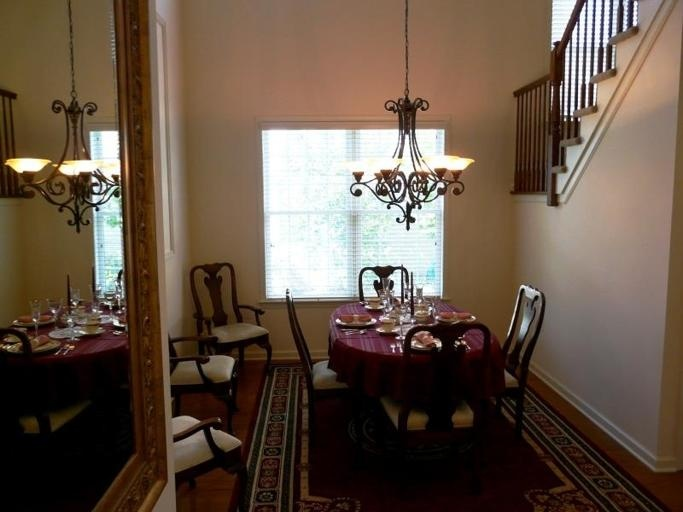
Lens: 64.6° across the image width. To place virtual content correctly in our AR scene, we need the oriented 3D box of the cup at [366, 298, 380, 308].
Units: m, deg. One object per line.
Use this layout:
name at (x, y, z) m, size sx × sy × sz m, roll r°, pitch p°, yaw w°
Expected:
cup at (0.274, 0.421, 4.789) m, size 0.079 × 0.064 × 0.085 m, roll 1°, pitch -8°, yaw 0°

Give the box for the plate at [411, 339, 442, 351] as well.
plate at (0.520, 0.581, 3.506) m, size 0.107 × 0.033 × 0.109 m, roll 3°, pitch 6°, yaw -21°

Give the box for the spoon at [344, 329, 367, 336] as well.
spoon at (0.093, 0.575, 4.065) m, size 0.210 × 0.041 × 0.062 m, roll 0°, pitch 25°, yaw 4°
